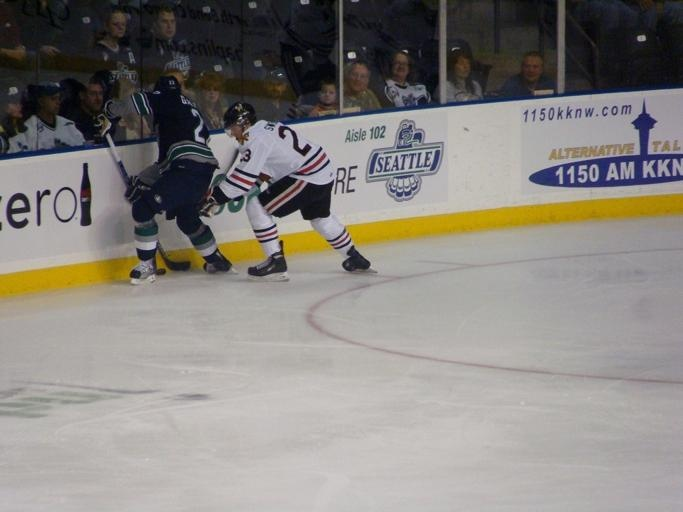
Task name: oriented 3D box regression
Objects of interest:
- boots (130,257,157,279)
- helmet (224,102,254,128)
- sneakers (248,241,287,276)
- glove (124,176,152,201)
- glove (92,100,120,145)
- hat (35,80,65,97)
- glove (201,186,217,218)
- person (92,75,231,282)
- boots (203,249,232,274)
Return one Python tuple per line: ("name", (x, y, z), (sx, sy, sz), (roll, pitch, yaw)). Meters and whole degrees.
("boots", (-1.557, 0.121, 7.569), (0.121, 0.193, 0.275), (-1, 5, 26))
("helmet", (-0.791, -1.097, 7.394), (0.257, 0.186, 0.188), (-11, 8, -22))
("sneakers", (-0.598, 0.039, 7.657), (0.328, 0.275, 0.172), (-5, 5, -21))
("glove", (-1.657, -0.536, 7.501), (0.093, 0.223, 0.233), (40, 9, 12))
("glove", (-1.884, -1.057, 7.574), (0.185, 0.184, 0.486), (12, -8, -10))
("hat", (-2.322, -1.321, 7.504), (0.177, 0.074, 0.104), (-3, 0, -23))
("glove", (-1.029, -0.420, 7.367), (0.088, 0.202, 0.155), (13, 23, -10))
("person", (-1.395, -0.623, 7.589), (0.922, 1.640, 0.448), (-5, 5, -12))
("boots", (-1.024, 0.066, 7.853), (0.298, 0.183, 0.136), (14, 41, 29))
